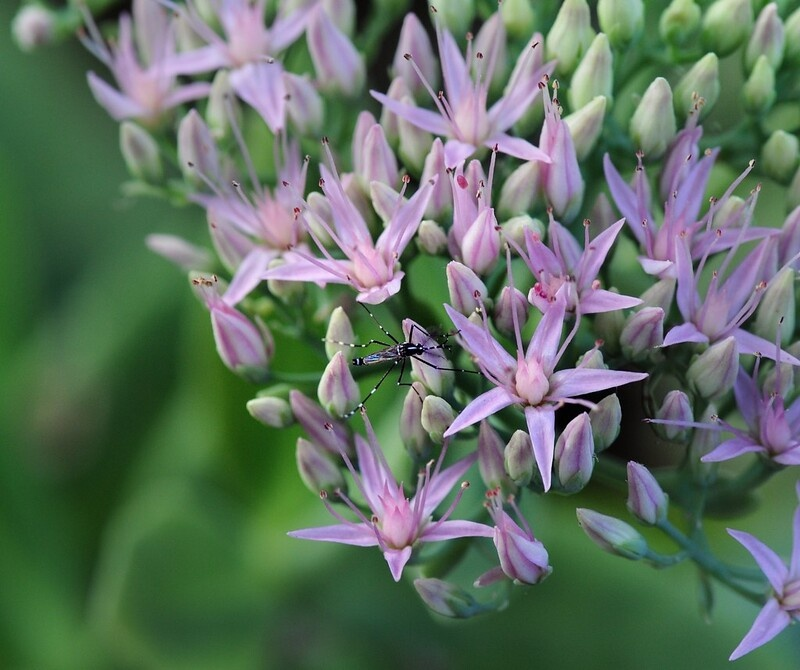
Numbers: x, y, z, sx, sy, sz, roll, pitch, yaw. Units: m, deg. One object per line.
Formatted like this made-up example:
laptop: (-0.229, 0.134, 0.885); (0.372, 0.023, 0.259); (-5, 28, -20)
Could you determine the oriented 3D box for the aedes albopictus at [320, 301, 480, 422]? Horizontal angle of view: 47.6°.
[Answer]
aedes albopictus: (-0.005, 0.041, 1.312); (0.144, 0.054, 0.180); (-13, 46, 11)
